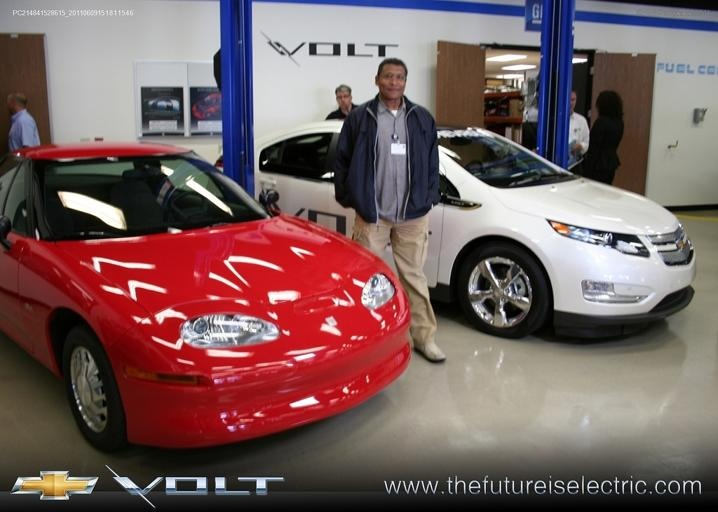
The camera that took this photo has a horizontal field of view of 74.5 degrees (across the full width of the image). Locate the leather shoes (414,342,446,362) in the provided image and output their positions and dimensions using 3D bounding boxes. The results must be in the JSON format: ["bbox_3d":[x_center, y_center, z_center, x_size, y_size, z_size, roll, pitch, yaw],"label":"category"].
[{"bbox_3d":[0.530,0.713,3.523,0.099,0.108,0.266,-18,21,-31],"label":"leather shoes"}]

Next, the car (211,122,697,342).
[{"bbox_3d":[0.886,-0.195,4.347,3.534,1.362,1.711,6,13,30],"label":"car"}]
